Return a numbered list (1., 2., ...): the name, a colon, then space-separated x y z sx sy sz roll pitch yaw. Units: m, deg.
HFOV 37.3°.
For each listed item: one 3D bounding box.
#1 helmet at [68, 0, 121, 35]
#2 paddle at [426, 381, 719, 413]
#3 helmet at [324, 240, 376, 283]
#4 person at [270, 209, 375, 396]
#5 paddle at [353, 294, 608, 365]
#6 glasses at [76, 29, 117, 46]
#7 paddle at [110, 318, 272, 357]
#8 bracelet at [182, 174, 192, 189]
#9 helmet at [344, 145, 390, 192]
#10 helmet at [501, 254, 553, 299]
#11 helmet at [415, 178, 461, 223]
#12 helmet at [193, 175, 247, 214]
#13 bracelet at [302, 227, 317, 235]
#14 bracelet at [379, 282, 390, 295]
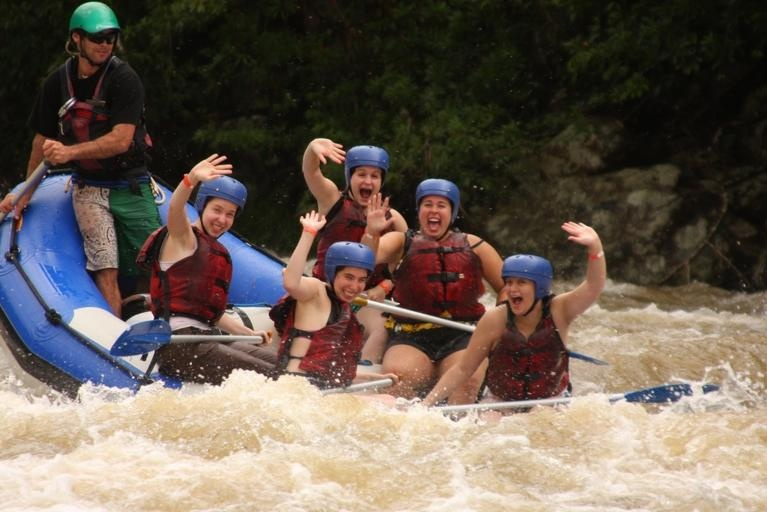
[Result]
1. helmet: -3.089 -2.483 11.881 0.341 0.233 0.453 -2 2 -45
2. paddle: 1.800 1.406 11.252 1.563 0.102 0.168 -7 -29 -5
3. helmet: -0.375 0.090 11.345 0.402 0.454 0.518 -1 9 -39
4. person: -0.616 0.464 11.144 0.922 1.561 0.597 10 14 -3
5. paddle: 0.853 0.751 11.530 1.774 0.325 0.105 18 56 12
6. glasses: -2.972 -2.278 11.842 0.401 0.161 0.160 5 15 -23
7. paddle: -1.981 0.810 11.200 1.286 0.435 0.184 -2 18 -26
8. bracelet: -1.951 -0.733 11.224 0.044 0.120 0.105 -26 -7 13
9. helmet: -0.160 -0.996 12.094 0.438 0.441 0.516 4 1 3
10. helmet: 1.417 0.188 11.177 0.505 0.380 0.387 7 9 -28
11. helmet: 0.556 -0.562 11.999 0.513 0.444 0.497 9 -10 -33
12. helmet: -1.701 -0.625 11.556 0.432 0.380 0.376 32 16 25
13. bracelet: -0.723 -0.249 11.177 0.130 0.066 0.201 9 14 -6
14. bracelet: 0.004 0.327 11.836 0.105 0.048 0.139 20 26 19
